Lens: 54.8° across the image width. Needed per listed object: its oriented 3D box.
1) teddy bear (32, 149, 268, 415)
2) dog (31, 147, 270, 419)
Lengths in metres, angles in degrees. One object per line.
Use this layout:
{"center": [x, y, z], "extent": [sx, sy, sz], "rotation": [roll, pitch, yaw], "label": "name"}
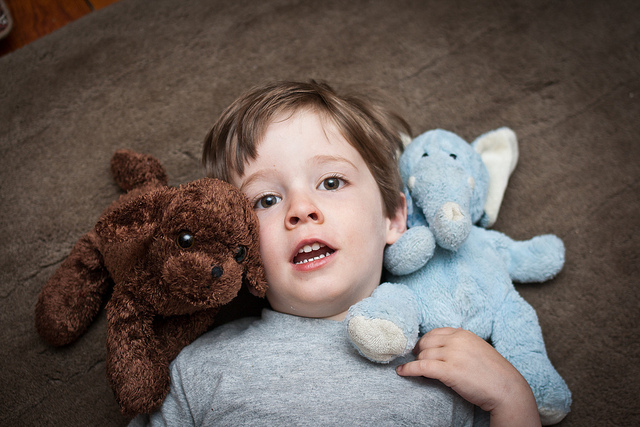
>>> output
{"center": [-0.499, 0.067, 1.628], "extent": [0.564, 0.451, 0.773], "rotation": [-4, 35, -25], "label": "teddy bear"}
{"center": [-0.425, 0.205, 1.515], "extent": [0.537, 0.408, 0.693], "rotation": [-1, 49, -26], "label": "dog"}
